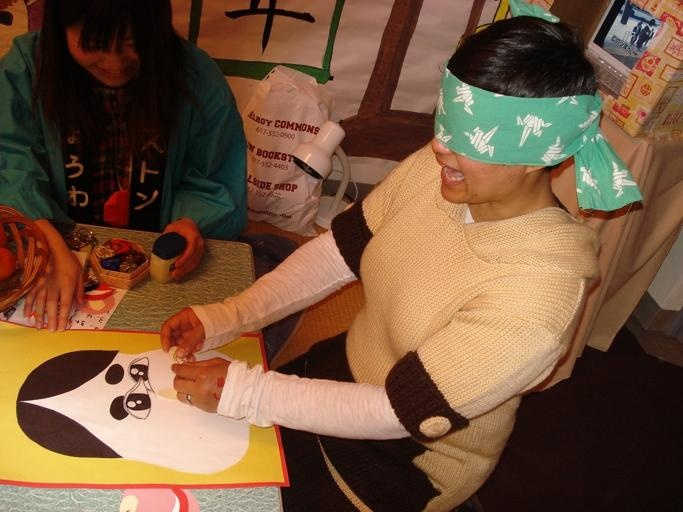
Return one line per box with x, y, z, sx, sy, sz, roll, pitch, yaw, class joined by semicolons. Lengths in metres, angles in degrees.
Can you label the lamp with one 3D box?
-0.057;-0.375;2.338;0.311;0.451;0.182;-20;40;-37;lamp
